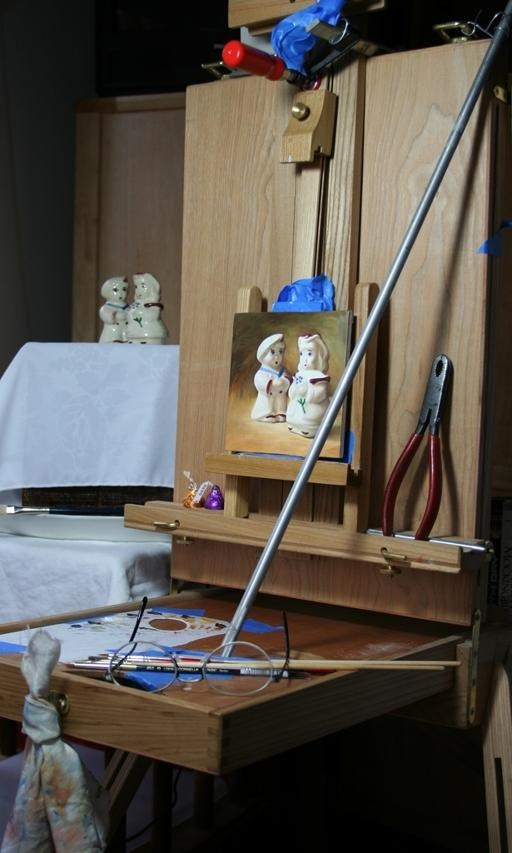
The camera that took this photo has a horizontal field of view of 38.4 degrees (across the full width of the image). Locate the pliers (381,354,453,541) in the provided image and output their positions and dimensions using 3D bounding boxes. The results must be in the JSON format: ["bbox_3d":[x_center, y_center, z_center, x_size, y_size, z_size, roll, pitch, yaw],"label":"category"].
[{"bbox_3d":[0.193,0.026,0.873,0.067,0.219,0.128,5,13,15],"label":"pliers"}]

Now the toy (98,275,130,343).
[{"bbox_3d":[-0.277,-0.228,1.438,0.055,0.123,0.274,0,13,-11],"label":"toy"}]

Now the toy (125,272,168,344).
[{"bbox_3d":[-0.208,-0.220,1.391,0.057,0.137,0.091,-1,17,-3],"label":"toy"}]
